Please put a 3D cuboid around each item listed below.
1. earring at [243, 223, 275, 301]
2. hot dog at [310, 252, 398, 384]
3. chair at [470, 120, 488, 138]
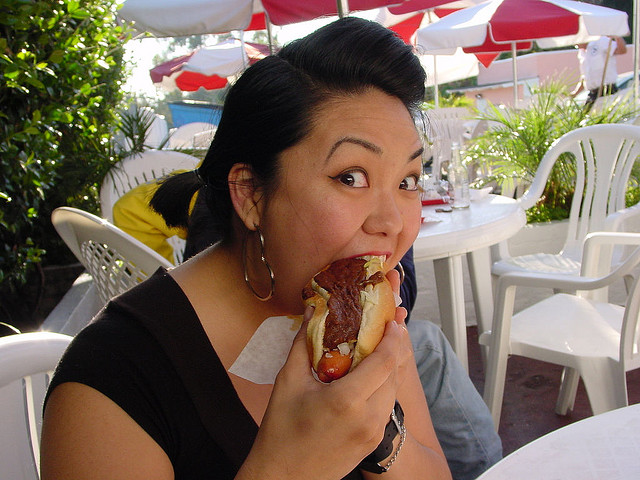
[{"bbox_3d":[-0.211,0.075,1.568,0.057,0.262,0.131,-16,20,-36],"label":"earring"},{"bbox_3d":[0.091,0.225,1.385,0.247,0.287,0.227,-5,16,-3],"label":"hot dog"},{"bbox_3d":[3.385,-2.362,10.236,0.268,0.357,0.780,0,17,14],"label":"chair"}]
